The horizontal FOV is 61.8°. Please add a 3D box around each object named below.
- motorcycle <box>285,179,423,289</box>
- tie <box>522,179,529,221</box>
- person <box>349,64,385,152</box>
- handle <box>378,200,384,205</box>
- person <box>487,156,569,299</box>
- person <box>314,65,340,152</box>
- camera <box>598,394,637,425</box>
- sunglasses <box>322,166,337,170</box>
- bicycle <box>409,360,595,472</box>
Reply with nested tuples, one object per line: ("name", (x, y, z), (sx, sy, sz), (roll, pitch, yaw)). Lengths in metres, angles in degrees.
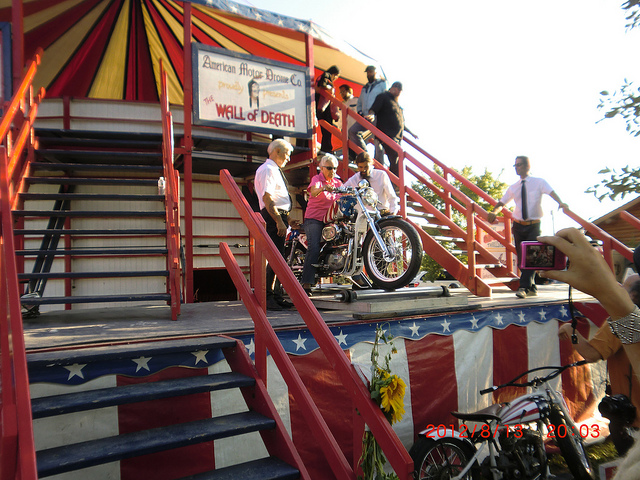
("motorcycle", (0.237, -0.036, 7.597), (1.084, 1.514, 2.737), (6, -9, -43))
("tie", (3.394, -0.672, 8.861), (0.124, 0.681, 0.078), (0, -10, -27))
("person", (0.971, -2.526, 10.733), (0.679, 1.906, 0.517), (1, -10, 27))
("handle", (0.927, -0.573, 8.128), (0.027, 0.119, 0.035), (-13, -38, -23))
("person", (3.468, -0.243, 8.868), (1.145, 2.337, 0.693), (0, 3, 42))
("person", (0.150, -2.996, 11.839), (0.537, 1.945, 1.166), (-3, -9, -5))
("camera", (2.920, 1.669, 5.292), (0.265, 0.332, 0.163), (-46, 2, -13))
("sunglasses", (0.146, -1.012, 7.478), (0.197, 0.054, 0.074), (-1, -10, -23))
("bicycle", (2.128, 2.148, 6.525), (1.969, 1.002, 1.206), (-14, -5, -20))
